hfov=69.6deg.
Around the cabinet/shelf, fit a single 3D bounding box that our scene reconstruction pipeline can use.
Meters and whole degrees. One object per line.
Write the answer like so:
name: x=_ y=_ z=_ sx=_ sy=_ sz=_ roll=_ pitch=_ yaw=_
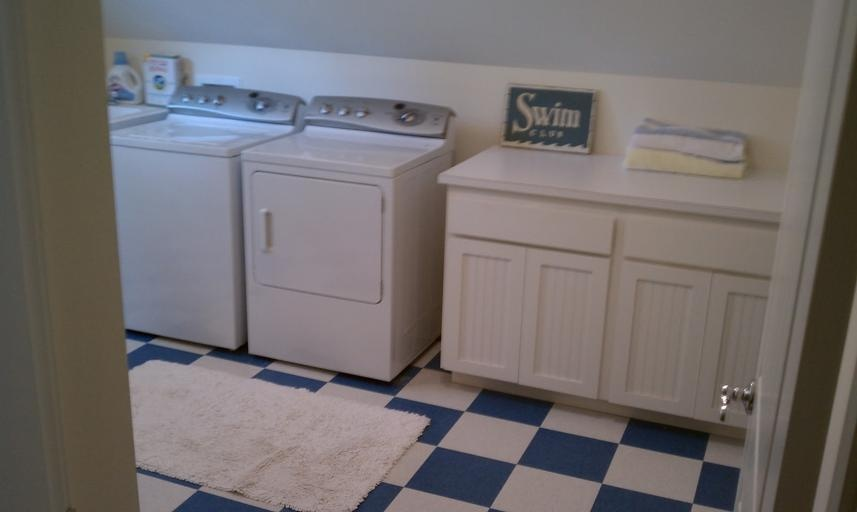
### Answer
cabinet/shelf: x=0.887 y=0.107 z=2.851 sx=1.538 sy=1.041 sz=0.752 roll=7 pitch=23 yaw=21
